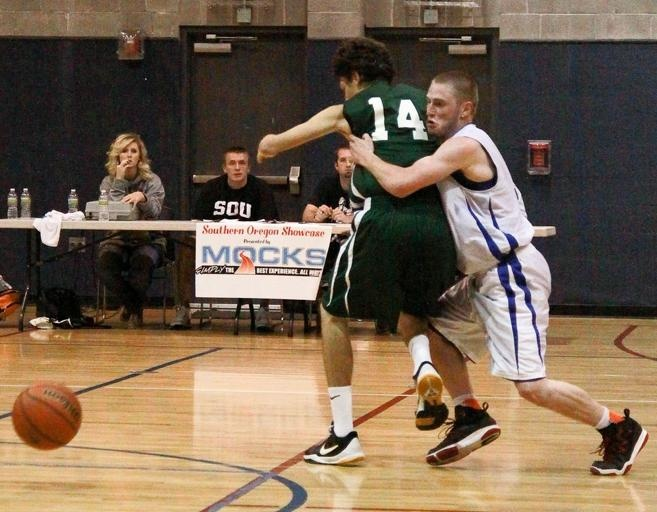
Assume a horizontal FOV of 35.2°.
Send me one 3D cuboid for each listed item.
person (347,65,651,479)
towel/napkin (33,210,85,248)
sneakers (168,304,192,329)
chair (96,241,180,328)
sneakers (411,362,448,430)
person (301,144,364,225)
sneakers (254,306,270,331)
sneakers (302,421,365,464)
[{"bbox_3d":[0.876,0.095,5.624,1.513,2.153,0.429,1,8,1],"label":"person"},{"bbox_3d":[-2.367,-0.226,9.101,0.439,0.297,0.478,-1,8,-12],"label":"towel/napkin"},{"bbox_3d":[-1.394,0.585,9.739,0.156,0.188,0.436,-1,-8,-3],"label":"sneakers"},{"bbox_3d":[-1.834,0.136,9.577,0.711,0.836,0.781,2,14,0],"label":"chair"},{"bbox_3d":[0.513,0.774,5.539,0.146,0.388,0.242,-3,32,1],"label":"sneakers"},{"bbox_3d":[0.114,-0.626,9.437,0.532,0.704,0.737,8,3,12],"label":"person"},{"bbox_3d":[-0.607,0.605,9.589,0.093,0.186,0.269,3,-18,-11],"label":"sneakers"},{"bbox_3d":[0.007,1.058,5.751,0.159,0.212,0.417,8,-15,-44],"label":"sneakers"}]
